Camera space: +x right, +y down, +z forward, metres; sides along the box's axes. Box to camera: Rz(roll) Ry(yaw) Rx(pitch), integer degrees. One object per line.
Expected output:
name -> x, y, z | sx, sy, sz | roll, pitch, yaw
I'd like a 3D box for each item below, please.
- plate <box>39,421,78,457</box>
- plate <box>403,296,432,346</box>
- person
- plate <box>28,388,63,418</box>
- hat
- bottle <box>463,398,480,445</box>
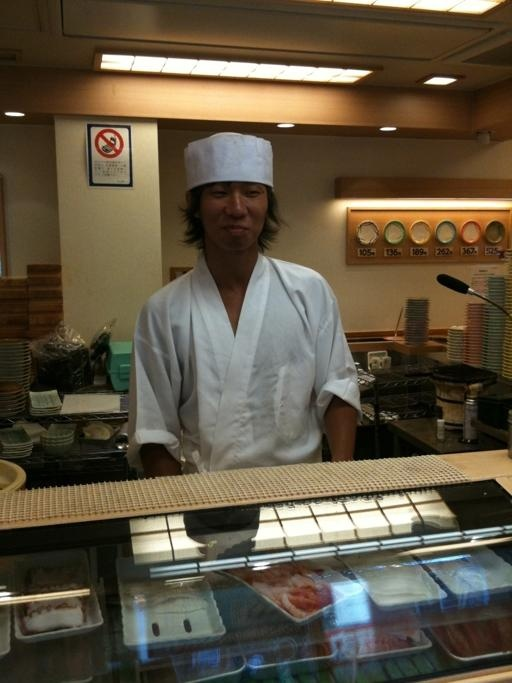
plate -> -0.981, 0.481, 2.668 | 0.130, 0.080, 0.183 | 0, 7, -7
plate -> 1.217, -0.155, 4.133 | 0.166, 0.341, 0.169 | 2, 4, 14
person -> -0.025, -0.098, 1.497 | 0.633, 0.941, 0.295 | 0, 4, -14
plate -> -1.028, 0.302, 2.650 | 0.144, 0.107, 0.161 | -1, 4, -20
hat -> -0.068, -0.483, 1.519 | 0.228, 0.114, 0.241 | 2, 6, 42
bottle -> 0.851, 0.317, 2.150 | 0.051, 0.208, 0.179 | 2, 4, 20
